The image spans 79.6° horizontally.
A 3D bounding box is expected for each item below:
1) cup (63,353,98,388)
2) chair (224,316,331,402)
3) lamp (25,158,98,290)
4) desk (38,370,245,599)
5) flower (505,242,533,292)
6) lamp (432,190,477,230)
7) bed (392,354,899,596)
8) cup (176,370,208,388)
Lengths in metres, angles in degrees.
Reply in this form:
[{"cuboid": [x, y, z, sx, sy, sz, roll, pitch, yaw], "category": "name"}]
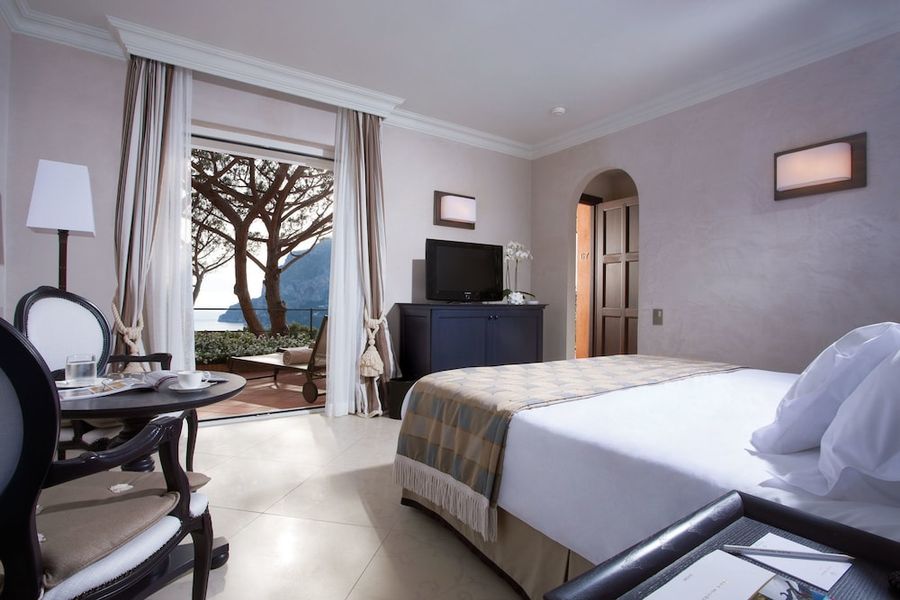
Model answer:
[{"cuboid": [-1.881, 0.366, 2.766, 0.150, 0.163, 0.153, 1, -3, 0], "category": "cup"}, {"cuboid": [-1.713, 0.609, 5.926, 1.392, 0.826, 0.726, 4, 0, 39], "category": "chair"}, {"cuboid": [-2.550, -0.471, 3.553, 0.329, 0.846, 0.618, -7, 16, -36], "category": "lamp"}, {"cuboid": [-1.443, 0.762, 2.826, 1.033, 0.920, 0.994, -1, -1, 37], "category": "desk"}, {"cuboid": [0.772, -0.375, 6.237, 0.324, 0.593, 0.608, 4, 12, 9], "category": "flower"}, {"cuboid": [0.071, -0.950, 5.811, 0.554, 0.401, 0.181, -6, 15, -33], "category": "lamp"}, {"cuboid": [0.615, 0.726, 2.646, 1.341, 0.497, 1.346, -3, 6, -37], "category": "bed"}, {"cuboid": [-1.333, 0.410, 2.804, 0.091, 0.071, 0.115, -3, -10, 2], "category": "cup"}]
